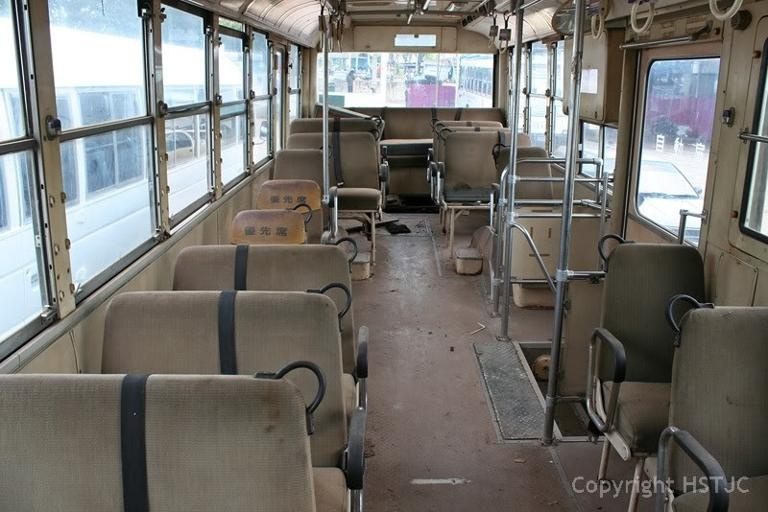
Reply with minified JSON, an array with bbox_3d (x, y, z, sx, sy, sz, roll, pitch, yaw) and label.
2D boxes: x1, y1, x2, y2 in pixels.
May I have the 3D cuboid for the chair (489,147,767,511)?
[{"bbox_3d":[1.324,0.659,4.383,1.429,2.529,1.484,0,6,-3],"label":"chair"}]
